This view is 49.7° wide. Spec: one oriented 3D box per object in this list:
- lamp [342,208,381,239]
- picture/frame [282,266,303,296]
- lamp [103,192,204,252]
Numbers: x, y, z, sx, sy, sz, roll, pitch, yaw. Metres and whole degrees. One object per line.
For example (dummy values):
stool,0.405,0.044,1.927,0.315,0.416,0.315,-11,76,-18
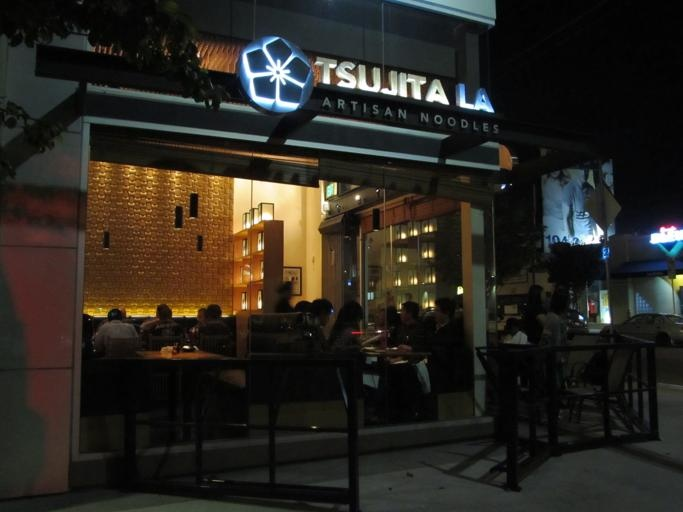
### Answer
lamp,0.285,-0.477,10.535,0.599,0.495,0.108,11,11,32
picture/frame,-0.702,0.375,10.590,0.346,0.440,0.032,-8,-38,17
lamp,-3.150,-0.552,12.552,1.593,1.057,1.335,2,10,-12
